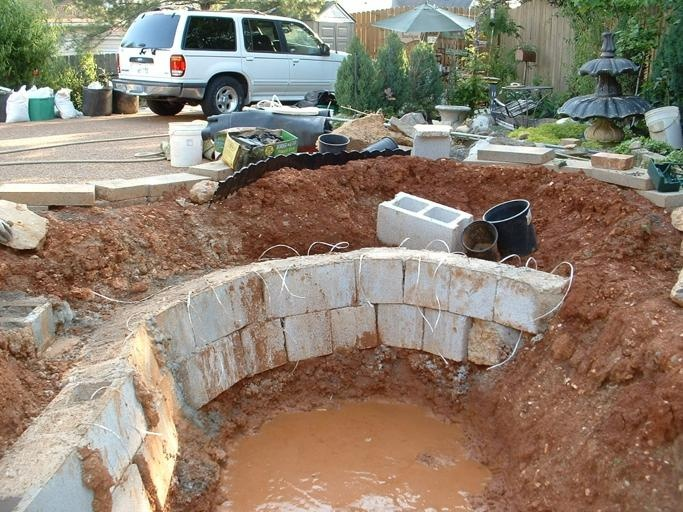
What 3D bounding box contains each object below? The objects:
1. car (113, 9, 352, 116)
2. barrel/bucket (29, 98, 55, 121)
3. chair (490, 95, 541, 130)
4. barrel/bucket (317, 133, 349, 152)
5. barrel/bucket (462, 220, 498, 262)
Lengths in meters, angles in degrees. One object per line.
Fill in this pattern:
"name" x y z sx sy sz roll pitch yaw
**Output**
"car" -2.339 -4.097 11.301 4.222 2.059 1.604 -21 36 -27
"barrel/bucket" -6.791 -3.344 12.213 0.307 0.387 0.541 7 22 10
"chair" 3.714 -3.035 11.529 0.996 0.569 1.108 -5 32 -5
"barrel/bucket" -0.119 -1.554 7.504 0.396 0.212 0.537 0 32 4
"barrel/bucket" 1.351 -0.128 5.299 0.344 0.360 0.336 -2 32 1
